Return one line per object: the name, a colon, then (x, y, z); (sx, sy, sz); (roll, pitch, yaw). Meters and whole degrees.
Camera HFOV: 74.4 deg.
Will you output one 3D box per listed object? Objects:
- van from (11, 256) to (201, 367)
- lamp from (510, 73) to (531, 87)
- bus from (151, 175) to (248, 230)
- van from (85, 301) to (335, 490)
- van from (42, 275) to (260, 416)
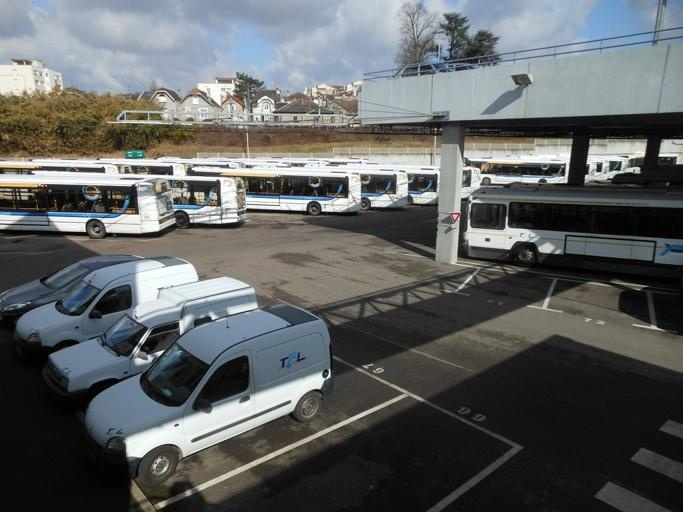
van: (-6.738, 1.289, 12.858); (2.566, 1.955, 4.736); (17, 17, 36)
lamp: (7.060, -6.888, 17.526); (0.547, 0.220, 0.579); (1, 3, -16)
bus: (-9.813, -4.019, 31.262); (8.604, 3.618, 3.127); (4, 21, 35)
van: (-2.679, 2.713, 9.556); (4.866, 2.185, 2.513); (-10, 17, -42)
van: (-4.575, 1.939, 11.104); (4.901, 1.702, 2.209); (-14, 21, -38)
